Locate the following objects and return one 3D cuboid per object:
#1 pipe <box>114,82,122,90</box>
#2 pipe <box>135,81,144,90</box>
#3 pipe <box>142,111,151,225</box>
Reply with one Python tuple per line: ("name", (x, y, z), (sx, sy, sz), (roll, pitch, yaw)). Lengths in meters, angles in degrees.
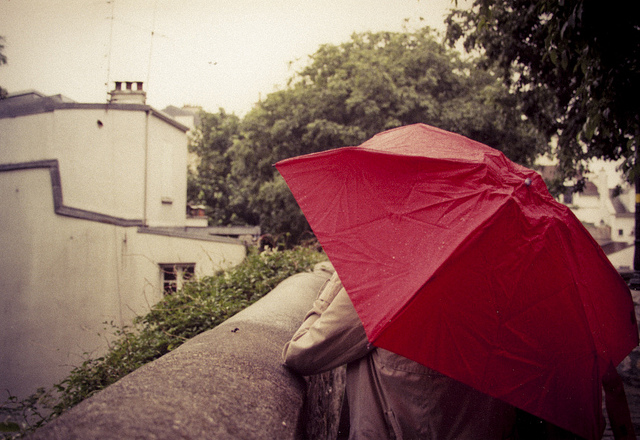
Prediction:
("pipe", (-4.291, -2.879, 13.803), (0.106, 0.138, 0.104), (-4, 4, -36))
("pipe", (-4.110, -3.099, 14.833), (0.118, 0.136, 0.127), (-1, -3, -1))
("pipe", (-3.782, -1.203, 14.347), (0.245, 2.836, 0.086), (-6, -10, 20))
